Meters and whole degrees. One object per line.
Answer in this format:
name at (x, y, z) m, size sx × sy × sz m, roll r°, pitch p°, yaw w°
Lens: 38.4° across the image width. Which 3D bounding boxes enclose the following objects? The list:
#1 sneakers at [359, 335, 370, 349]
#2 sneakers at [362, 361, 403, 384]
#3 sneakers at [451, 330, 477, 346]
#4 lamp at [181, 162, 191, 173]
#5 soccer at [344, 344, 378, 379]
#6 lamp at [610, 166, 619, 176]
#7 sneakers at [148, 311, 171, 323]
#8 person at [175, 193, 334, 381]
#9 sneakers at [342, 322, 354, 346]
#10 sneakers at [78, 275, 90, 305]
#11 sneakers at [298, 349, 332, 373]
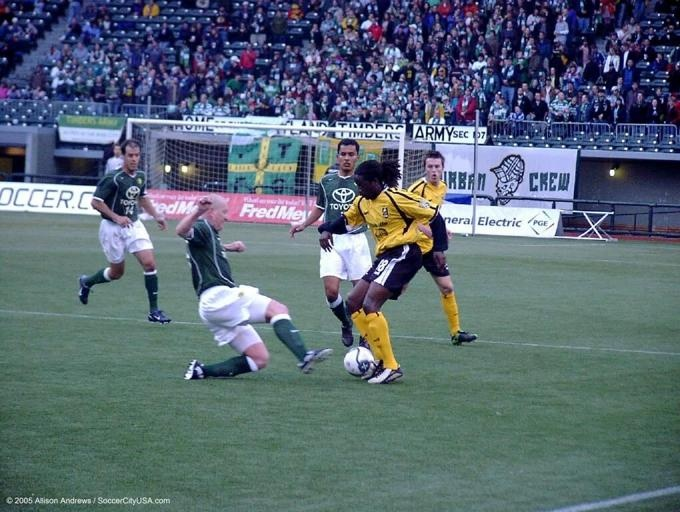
sneakers at (0.238, 0.901, 10.041) m, size 0.098 × 0.120 × 0.114 m, roll -8°, pitch -12°, yaw -17°
sneakers at (0.413, 1.121, 9.147) m, size 0.434 × 0.206 × 0.139 m, roll -3°, pitch -11°, yaw -4°
sneakers at (1.356, 0.913, 10.729) m, size 0.262 × 0.152 × 0.236 m, roll 3°, pitch 9°, yaw 3°
lamp at (-4.426, -2.483, 27.788) m, size 0.263 × 0.284 × 0.115 m, roll 1°, pitch 10°, yaw -11°
soccer at (0.173, 1.057, 9.364) m, size 0.275 × 0.242 × 0.322 m, roll -12°, pitch -24°, yaw -11°
lamp at (8.104, -2.520, 28.895) m, size 0.265 × 0.363 × 0.320 m, roll 6°, pitch 10°, yaw 19°
sneakers at (-2.121, 0.713, 11.347) m, size 0.266 × 0.135 × 0.235 m, roll 1°, pitch 9°, yaw -7°
person at (-0.830, 0.262, 8.941) m, size 1.577 × 1.809 × 1.155 m, roll -11°, pitch -16°, yaw 28°
sneakers at (0.072, 0.866, 10.708) m, size 0.096 × 0.267 × 0.109 m, roll -5°, pitch -13°, yaw 3°
sneakers at (-3.215, 0.441, 12.179) m, size 0.169 × 0.322 × 0.115 m, roll 7°, pitch 14°, yaw 25°
sneakers at (-0.255, 0.990, 9.080) m, size 0.286 × 0.136 × 0.113 m, roll -35°, pitch -40°, yaw 5°
